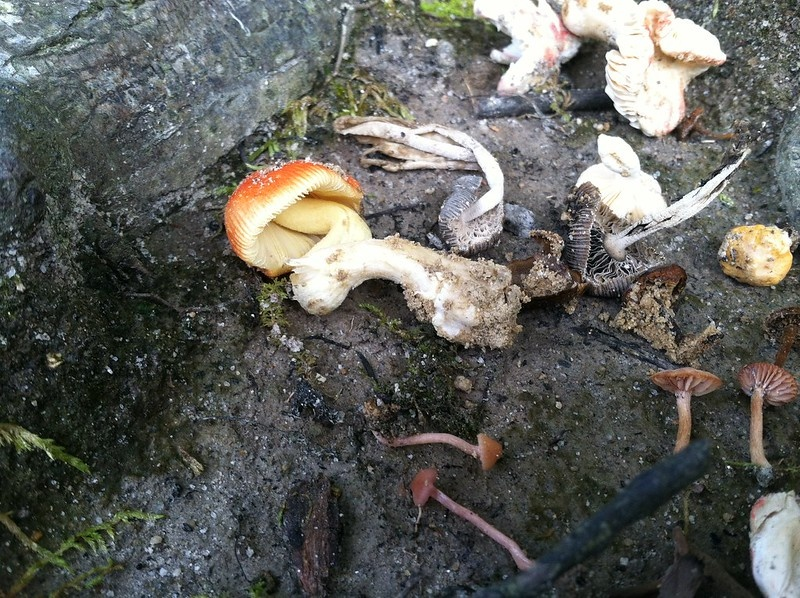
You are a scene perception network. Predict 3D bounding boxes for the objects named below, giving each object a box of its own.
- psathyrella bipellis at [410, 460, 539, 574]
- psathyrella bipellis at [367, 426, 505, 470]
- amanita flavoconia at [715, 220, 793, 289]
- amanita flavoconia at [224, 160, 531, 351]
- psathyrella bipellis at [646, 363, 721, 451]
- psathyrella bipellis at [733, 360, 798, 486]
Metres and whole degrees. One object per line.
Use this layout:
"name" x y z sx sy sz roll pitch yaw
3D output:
"psathyrella bipellis" 0.581 1.712 5.830 1.097 0.363 0.298 26 51 15
"psathyrella bipellis" 0.247 1.210 6.024 1.082 0.491 0.425 0 30 13
"amanita flavoconia" 3.103 -0.378 6.631 0.580 0.559 0.558 -12 23 -24
"amanita flavoconia" -0.263 -0.280 6.057 2.374 1.086 0.789 29 -12 4
"psathyrella bipellis" 2.323 0.793 5.947 0.458 0.589 0.404 -20 -11 -6
"psathyrella bipellis" 2.937 0.950 5.911 0.409 0.864 0.369 0 -12 -2
